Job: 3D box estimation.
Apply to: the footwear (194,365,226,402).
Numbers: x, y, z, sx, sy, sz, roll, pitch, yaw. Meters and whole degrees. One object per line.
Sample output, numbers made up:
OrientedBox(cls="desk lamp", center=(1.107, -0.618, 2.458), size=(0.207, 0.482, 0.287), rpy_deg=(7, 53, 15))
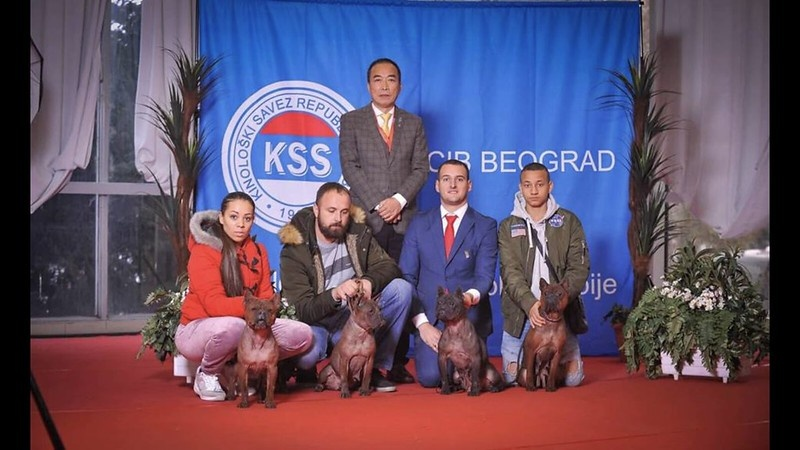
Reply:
OrientedBox(cls="footwear", center=(-2.071, 1.637, 6.734), size=(0.265, 0.301, 0.662), rpy_deg=(-7, 12, -24))

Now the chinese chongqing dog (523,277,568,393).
OrientedBox(cls="chinese chongqing dog", center=(1.518, 1.127, 6.773), size=(0.419, 1.215, 0.390), rpy_deg=(2, 1, 2))

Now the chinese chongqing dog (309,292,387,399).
OrientedBox(cls="chinese chongqing dog", center=(-0.511, 1.259, 6.585), size=(0.736, 1.215, 0.532), rpy_deg=(1, -2, 10))

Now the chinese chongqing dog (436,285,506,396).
OrientedBox(cls="chinese chongqing dog", center=(0.740, 1.240, 6.820), size=(0.834, 1.106, 0.698), rpy_deg=(4, -7, -35))
